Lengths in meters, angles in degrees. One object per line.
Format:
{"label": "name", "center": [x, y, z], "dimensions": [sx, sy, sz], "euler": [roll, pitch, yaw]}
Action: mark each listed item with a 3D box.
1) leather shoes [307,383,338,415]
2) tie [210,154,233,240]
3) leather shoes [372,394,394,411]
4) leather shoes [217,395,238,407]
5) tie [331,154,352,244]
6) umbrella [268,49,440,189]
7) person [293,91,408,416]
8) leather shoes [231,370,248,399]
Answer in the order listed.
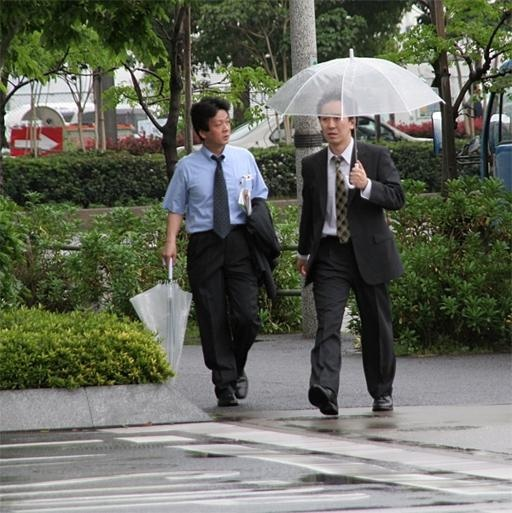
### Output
{"label": "leather shoes", "center": [0.398, 0.826, 5.567], "dimensions": [0.099, 0.251, 0.115], "euler": [-14, 36, 32]}
{"label": "tie", "center": [-0.222, -0.402, 6.174], "dimensions": [0.115, 0.541, 0.179], "euler": [-3, 4, -2]}
{"label": "leather shoes", "center": [0.793, 0.896, 5.794], "dimensions": [0.125, 0.095, 0.149], "euler": [-2, 4, 3]}
{"label": "leather shoes", "center": [-0.176, 0.936, 6.163], "dimensions": [0.132, 0.072, 0.093], "euler": [-3, 4, -3]}
{"label": "tie", "center": [0.531, -0.361, 5.766], "dimensions": [0.080, 0.522, 0.104], "euler": [-3, 4, -3]}
{"label": "umbrella", "center": [0.579, -1.062, 6.042], "dimensions": [0.918, 0.350, 0.911], "euler": [11, 22, 30]}
{"label": "person", "center": [0.601, -0.028, 5.759], "dimensions": [0.656, 1.944, 0.708], "euler": [-2, 4, 2]}
{"label": "leather shoes", "center": [-0.097, 0.848, 6.347], "dimensions": [0.062, 0.078, 0.188], "euler": [2, 45, 5]}
